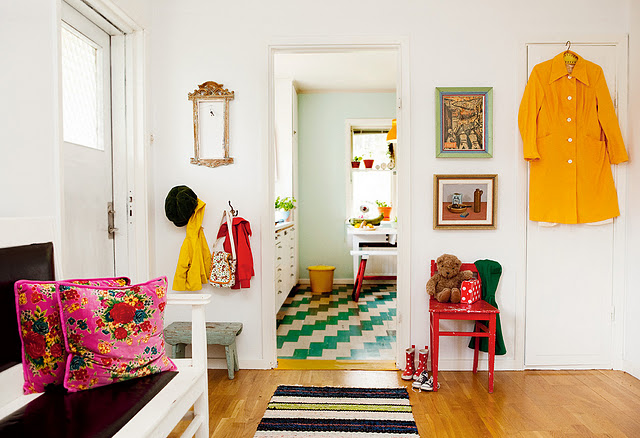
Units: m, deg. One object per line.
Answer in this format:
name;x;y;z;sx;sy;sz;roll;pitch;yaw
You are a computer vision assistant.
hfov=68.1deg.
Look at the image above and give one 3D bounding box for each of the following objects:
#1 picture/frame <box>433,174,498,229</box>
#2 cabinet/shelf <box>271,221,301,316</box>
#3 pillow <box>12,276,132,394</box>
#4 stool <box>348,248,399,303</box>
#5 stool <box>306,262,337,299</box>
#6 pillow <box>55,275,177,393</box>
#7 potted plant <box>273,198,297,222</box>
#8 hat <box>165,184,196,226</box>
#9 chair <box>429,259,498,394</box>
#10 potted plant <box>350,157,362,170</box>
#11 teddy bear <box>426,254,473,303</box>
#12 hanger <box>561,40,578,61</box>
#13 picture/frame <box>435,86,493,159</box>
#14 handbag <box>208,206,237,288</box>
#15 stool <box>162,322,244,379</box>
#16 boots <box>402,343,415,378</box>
picture/frame;1.246;-0.167;3.998;0.435;0.373;0.033;-1;2;2
cabinet/shelf;-0.406;0.578;5.448;0.329;0.630;1.027;-1;1;0
pillow;-1.428;0.677;2.705;0.210;0.609;0.639;-9;-4;27
stool;0.688;0.590;6.045;0.563;0.446;0.890;1;-1;2
stool;0.018;0.816;6.277;0.335;0.266;0.334;-2;-4;16
pillow;-1.219;0.683;2.768;0.577;0.567;0.211;-3;-7;-35
potted plant;-0.450;-0.111;6.229;0.283;0.305;0.295;0;-1;-23
hat;-1.181;-0.112;3.961;0.267;0.309;0.111;8;4;18
chair;1.148;0.838;3.905;0.529;0.976;0.561;1;-1;6
potted plant;0.518;-0.811;6.861;0.147;0.113;0.150;0;1;1
teddy bear;1.094;0.493;3.905;0.395;0.402;0.247;-1;-2;23
hanger;2.104;-1.403;3.960;0.112;0.183;0.077;3;12;17
picture/frame;1.223;-0.840;3.984;0.576;0.700;0.047;0;2;0
handbag;-0.832;0.243;3.997;0.226;0.656;0.237;-3;12;-13
stool;-0.970;1.043;3.910;0.494;0.336;0.435;1;1;-1
boots;0.746;1.173;3.939;0.110;0.226;0.288;2;12;12
